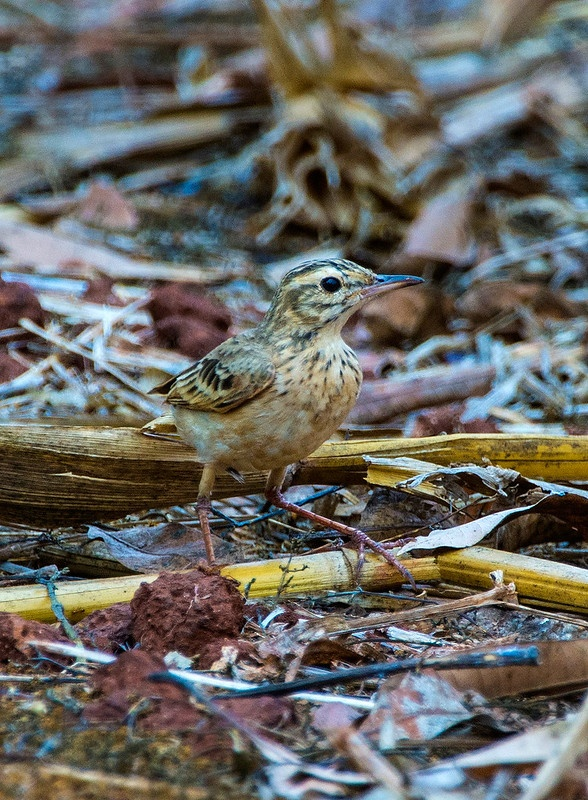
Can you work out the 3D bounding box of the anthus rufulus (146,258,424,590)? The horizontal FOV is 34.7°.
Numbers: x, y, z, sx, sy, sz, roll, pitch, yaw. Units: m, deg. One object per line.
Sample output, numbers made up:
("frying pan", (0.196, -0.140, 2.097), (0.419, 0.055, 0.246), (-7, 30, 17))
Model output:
("anthus rufulus", (-0.069, 0.050, 4.574), (1.390, 1.314, 1.130), (3, 4, 28))
